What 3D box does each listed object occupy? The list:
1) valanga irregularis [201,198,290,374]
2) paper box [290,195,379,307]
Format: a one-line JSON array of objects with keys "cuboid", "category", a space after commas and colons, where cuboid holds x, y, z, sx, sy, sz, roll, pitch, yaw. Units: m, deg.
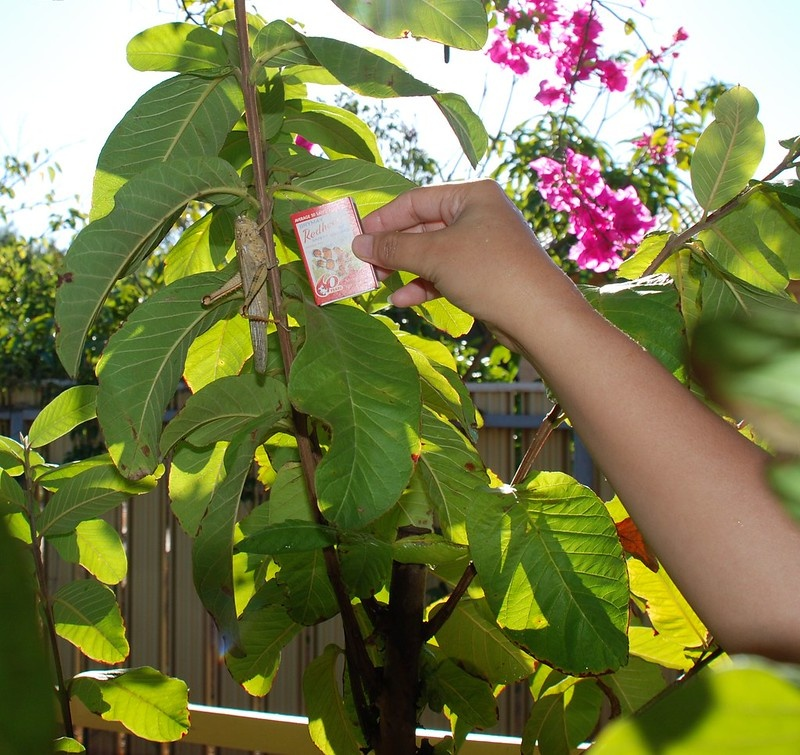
[{"cuboid": [-0.221, -0.110, 1.225, 0.102, 0.195, 0.127, 0, 7, -18], "category": "valanga irregularis"}, {"cuboid": [-0.087, -0.168, 1.284, 0.112, 0.140, 0.034, -20, 3, 9], "category": "paper box"}]
